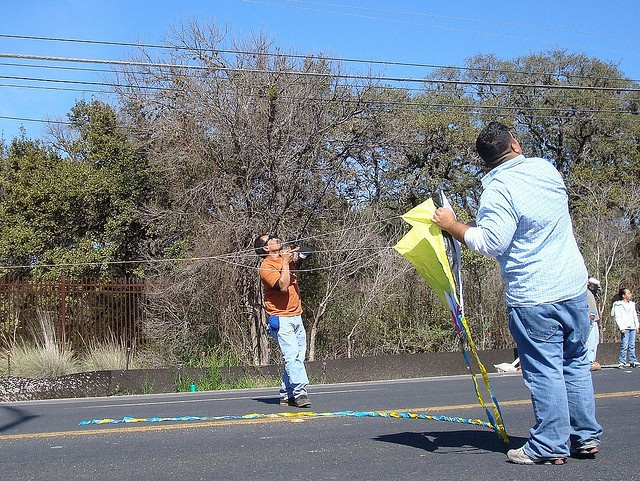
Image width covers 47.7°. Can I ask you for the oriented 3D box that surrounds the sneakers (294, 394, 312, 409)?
[{"bbox_3d":[-0.258,2.367,10.688,0.128,0.152,0.335,3,-15,-22],"label":"sneakers"}]

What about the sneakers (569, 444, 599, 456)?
[{"bbox_3d":[2.865,2.266,7.875,0.128,0.139,0.271,2,-15,-45],"label":"sneakers"}]
